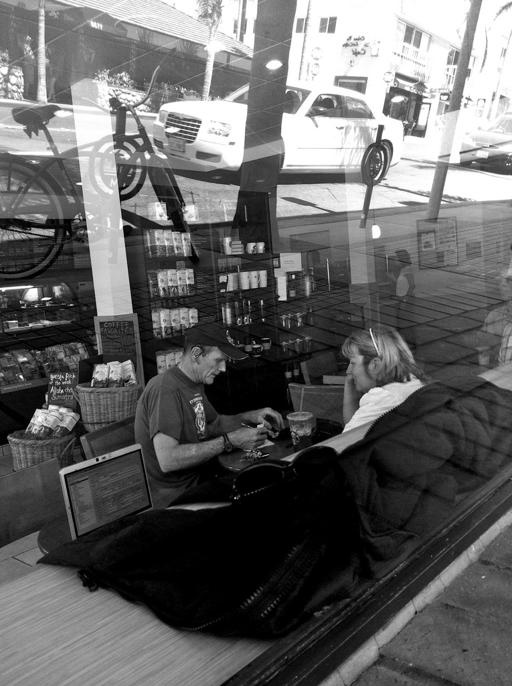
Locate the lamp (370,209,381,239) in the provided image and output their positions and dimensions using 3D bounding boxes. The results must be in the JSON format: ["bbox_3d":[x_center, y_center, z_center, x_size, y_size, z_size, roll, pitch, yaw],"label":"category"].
[{"bbox_3d":[0.516,-0.503,2.239,0.048,0.122,0.096,-1,11,12],"label":"lamp"}]

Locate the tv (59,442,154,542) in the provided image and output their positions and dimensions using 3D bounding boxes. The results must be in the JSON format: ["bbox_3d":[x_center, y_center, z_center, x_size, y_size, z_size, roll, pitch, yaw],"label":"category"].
[{"bbox_3d":[-0.432,0.377,1.398,0.198,0.176,0.285,0,8,37],"label":"tv"}]

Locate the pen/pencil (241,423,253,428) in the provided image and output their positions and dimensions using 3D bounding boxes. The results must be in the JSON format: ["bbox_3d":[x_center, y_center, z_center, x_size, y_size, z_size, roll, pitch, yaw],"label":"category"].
[{"bbox_3d":[-0.050,0.373,2.340,0.014,0.015,0.105,-12,-19,36],"label":"pen/pencil"}]

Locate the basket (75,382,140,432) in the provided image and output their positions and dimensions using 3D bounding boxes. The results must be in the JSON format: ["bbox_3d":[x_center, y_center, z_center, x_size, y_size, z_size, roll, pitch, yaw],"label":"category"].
[{"bbox_3d":[-0.699,0.278,2.458,0.235,0.147,0.237,4,7,34],"label":"basket"}]

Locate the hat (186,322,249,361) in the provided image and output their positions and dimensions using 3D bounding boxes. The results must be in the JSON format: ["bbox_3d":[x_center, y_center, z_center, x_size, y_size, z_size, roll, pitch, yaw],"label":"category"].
[{"bbox_3d":[-0.166,-0.005,2.373,0.314,0.103,0.191,16,-2,-30],"label":"hat"}]

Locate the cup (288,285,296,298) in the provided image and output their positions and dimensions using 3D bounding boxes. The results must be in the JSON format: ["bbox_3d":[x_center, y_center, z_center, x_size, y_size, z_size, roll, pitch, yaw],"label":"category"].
[{"bbox_3d":[0.193,-0.281,2.800,0.051,0.046,0.067,-5,1,1],"label":"cup"}]

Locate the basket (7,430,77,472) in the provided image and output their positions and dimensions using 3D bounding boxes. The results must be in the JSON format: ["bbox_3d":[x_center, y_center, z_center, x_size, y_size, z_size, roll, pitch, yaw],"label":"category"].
[{"bbox_3d":[-0.785,0.392,1.917,0.196,0.119,0.164,4,6,14],"label":"basket"}]

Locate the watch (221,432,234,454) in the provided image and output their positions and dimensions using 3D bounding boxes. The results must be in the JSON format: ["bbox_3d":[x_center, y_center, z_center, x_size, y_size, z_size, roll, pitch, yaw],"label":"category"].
[{"bbox_3d":[-0.113,0.397,2.065,0.049,0.073,0.070,-8,33,-2],"label":"watch"}]
